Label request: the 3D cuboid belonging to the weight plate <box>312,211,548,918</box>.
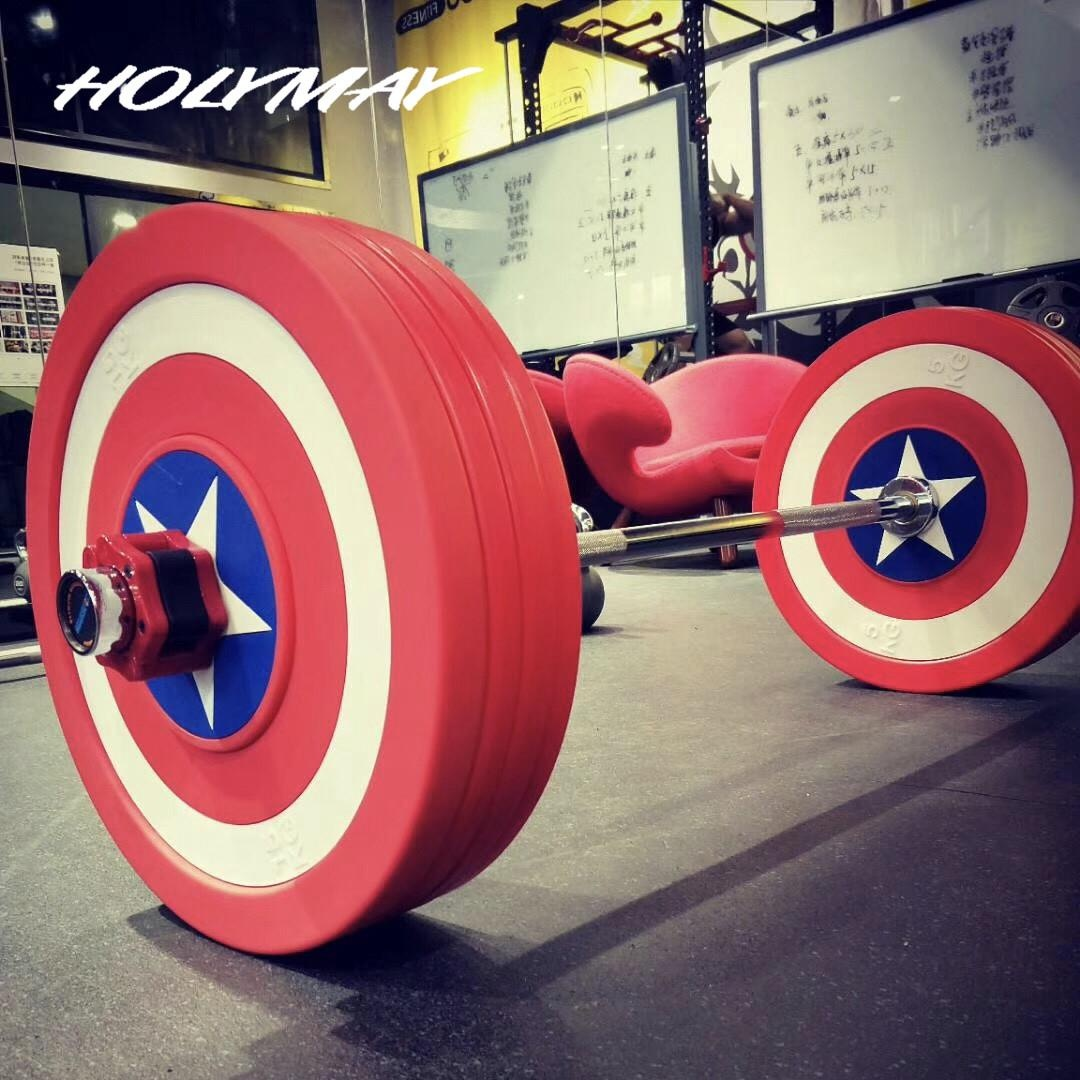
[{"bbox_3d":[-0.090,0.017,0.781,0.216,0.579,0.179,3,7,43],"label":"weight plate"}]
